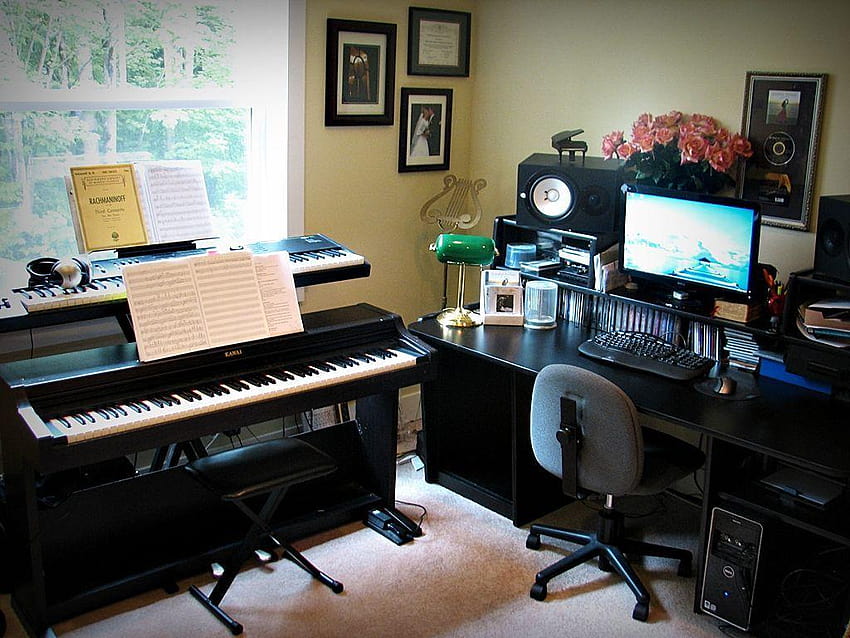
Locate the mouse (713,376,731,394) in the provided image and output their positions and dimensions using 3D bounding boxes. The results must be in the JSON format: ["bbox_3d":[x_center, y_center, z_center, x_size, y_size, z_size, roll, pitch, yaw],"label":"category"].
[{"bbox_3d":[1.220,0.273,2.706,0.072,0.057,0.079,13,23,38],"label":"mouse"}]

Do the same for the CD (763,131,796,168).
[{"bbox_3d":[1.592,-0.767,2.976,0.032,0.136,0.132,-8,21,-44],"label":"CD"}]

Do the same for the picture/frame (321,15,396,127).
[{"bbox_3d":[-0.356,-1.367,3.680,0.404,0.528,0.041,9,16,20],"label":"picture/frame"}]

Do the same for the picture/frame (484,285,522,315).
[{"bbox_3d":[0.394,-0.096,3.358,0.215,0.162,0.133,1,11,2],"label":"picture/frame"}]

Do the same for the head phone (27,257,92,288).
[{"bbox_3d":[-1.470,-0.192,2.646,0.233,0.099,0.229,-7,19,-18],"label":"head phone"}]

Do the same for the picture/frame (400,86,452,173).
[{"bbox_3d":[-0.013,-1.156,3.965,0.448,0.564,0.059,-13,26,-35],"label":"picture/frame"}]

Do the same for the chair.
[{"bbox_3d":[0.769,0.657,2.863,0.695,0.944,0.714,3,12,26],"label":"chair"}]

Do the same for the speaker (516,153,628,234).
[{"bbox_3d":[0.747,-0.637,3.363,0.627,0.433,0.375,15,26,33],"label":"speaker"}]

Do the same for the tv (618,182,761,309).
[{"bbox_3d":[1.215,-0.344,2.991,0.498,0.360,0.135,21,29,39],"label":"tv"}]
